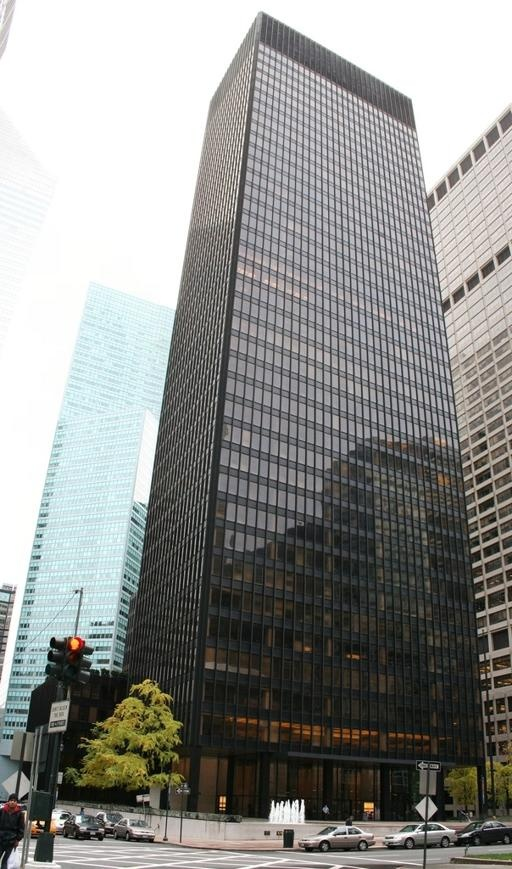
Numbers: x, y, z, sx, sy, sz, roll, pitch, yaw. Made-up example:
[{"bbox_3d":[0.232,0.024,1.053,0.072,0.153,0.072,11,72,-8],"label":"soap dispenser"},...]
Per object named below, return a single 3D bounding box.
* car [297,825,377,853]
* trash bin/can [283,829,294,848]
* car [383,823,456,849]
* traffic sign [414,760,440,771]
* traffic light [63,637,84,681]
[{"bbox_3d":[4.502,22.016,35.429,5.076,1.015,1.417,25,-32,-38],"label":"car"},{"bbox_3d":[1.820,22.711,36.551,0.565,0.780,1.634,3,-25,-1],"label":"trash bin/can"},{"bbox_3d":[9.539,22.871,37.195,3.363,1.319,4.928,-7,-27,20],"label":"car"},{"bbox_3d":[4.303,8.280,16.237,0.508,0.218,1.528,-3,-26,12],"label":"traffic sign"},{"bbox_3d":[-2.589,3.164,9.248,0.279,0.597,0.422,10,-24,-16],"label":"traffic light"}]
